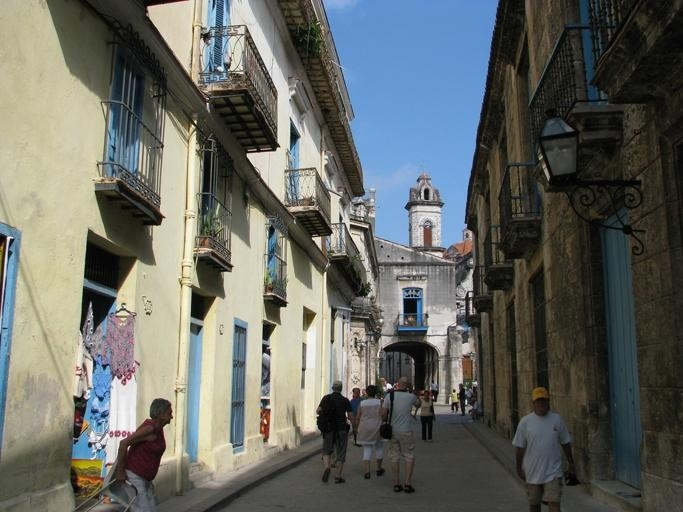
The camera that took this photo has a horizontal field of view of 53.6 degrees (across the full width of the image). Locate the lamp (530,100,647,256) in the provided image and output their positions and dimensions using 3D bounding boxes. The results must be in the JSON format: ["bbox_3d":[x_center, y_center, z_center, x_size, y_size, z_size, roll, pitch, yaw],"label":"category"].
[{"bbox_3d":[2.945,-0.920,8.054,1.134,1.963,0.466,2,-28,9],"label":"lamp"}]

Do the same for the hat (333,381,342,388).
[{"bbox_3d":[-0.076,2.437,12.781,0.152,0.180,0.126,-5,-4,-22],"label":"hat"}]

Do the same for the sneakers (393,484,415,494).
[{"bbox_3d":[1.007,3.814,11.033,0.141,0.117,0.285,7,-20,-15],"label":"sneakers"}]

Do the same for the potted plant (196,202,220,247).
[{"bbox_3d":[-2.301,-0.608,11.629,0.330,1.082,0.643,3,-16,-12],"label":"potted plant"}]

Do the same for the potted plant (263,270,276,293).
[{"bbox_3d":[-1.544,0.584,14.983,0.200,0.553,0.433,-7,-17,23],"label":"potted plant"}]

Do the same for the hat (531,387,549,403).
[{"bbox_3d":[2.433,1.679,8.271,0.173,0.128,0.307,-2,-10,9],"label":"hat"}]
